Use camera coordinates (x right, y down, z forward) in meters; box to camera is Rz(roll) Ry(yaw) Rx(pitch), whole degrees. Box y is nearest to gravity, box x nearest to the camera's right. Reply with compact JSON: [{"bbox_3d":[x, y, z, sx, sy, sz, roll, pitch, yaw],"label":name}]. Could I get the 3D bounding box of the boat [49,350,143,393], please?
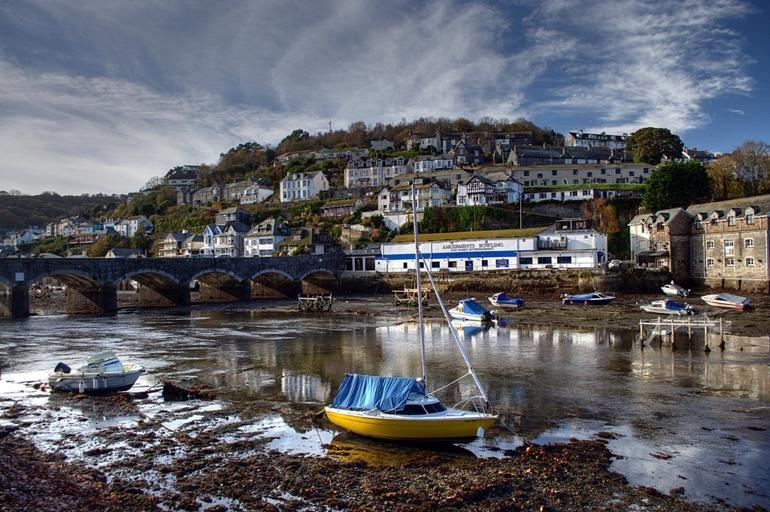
[{"bbox_3d":[-15.167,6.249,40.035,5.136,1.995,3.291,0,-4,7],"label":"boat"}]
